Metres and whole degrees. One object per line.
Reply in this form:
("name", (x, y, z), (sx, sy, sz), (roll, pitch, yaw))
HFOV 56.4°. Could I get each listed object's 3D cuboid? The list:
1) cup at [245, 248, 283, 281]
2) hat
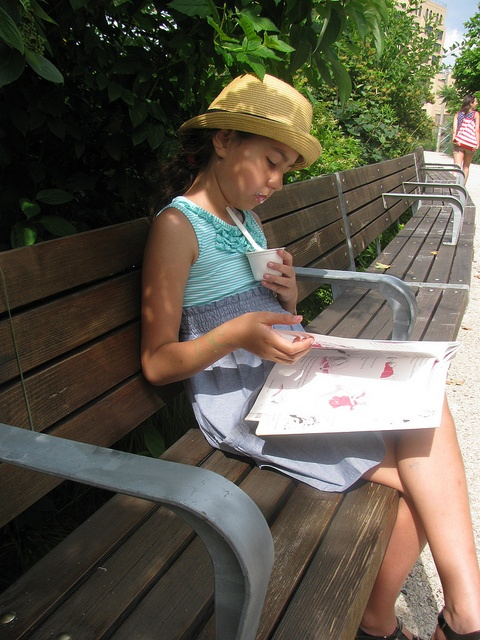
("cup", (0.068, -0.166, 1.303), (0.108, 0.067, 0.098), (-2, 14, -6))
("hat", (0.043, -0.626, 1.321), (0.365, 0.128, 0.276), (-3, 37, -11))
